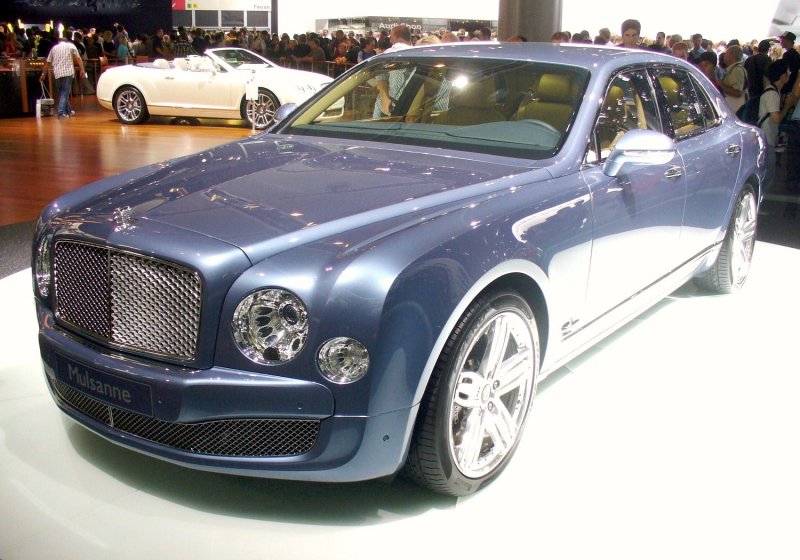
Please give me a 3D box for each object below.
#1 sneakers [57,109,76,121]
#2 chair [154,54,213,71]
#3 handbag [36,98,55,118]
[{"bbox_3d":[-8.787,-4.320,14.889,0.200,0.293,0.657,-16,12,-32],"label":"sneakers"},{"bbox_3d":[-4.987,-5.002,13.194,0.649,0.344,0.912,-18,21,-34],"label":"chair"},{"bbox_3d":[-9.270,-4.451,14.730,0.190,0.575,0.415,14,33,17],"label":"handbag"}]
